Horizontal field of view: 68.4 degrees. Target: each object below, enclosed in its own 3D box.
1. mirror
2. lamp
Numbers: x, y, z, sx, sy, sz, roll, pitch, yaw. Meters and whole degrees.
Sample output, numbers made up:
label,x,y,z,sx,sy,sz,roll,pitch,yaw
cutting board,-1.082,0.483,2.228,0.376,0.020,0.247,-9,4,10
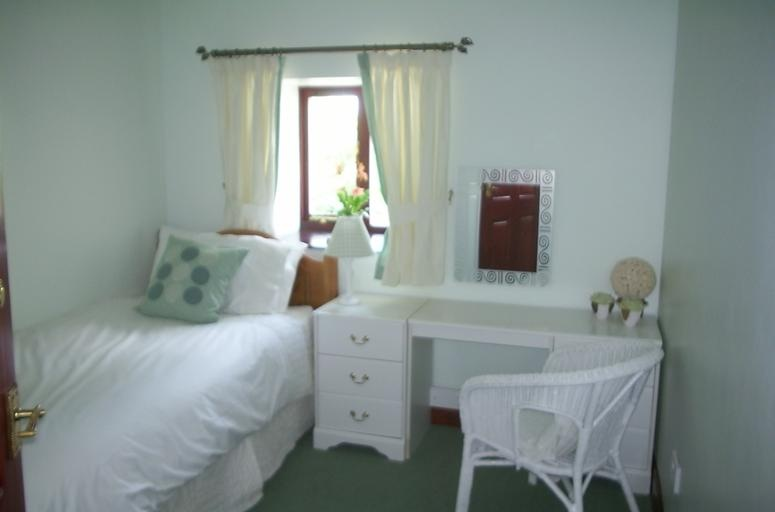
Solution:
label,x,y,z,sx,sy,sz,roll,pitch,yaw
mirror,0.683,-0.170,3.380,0.586,0.699,0.027,2,1,-8
lamp,-0.231,0.025,3.444,0.289,0.549,0.301,7,12,33
